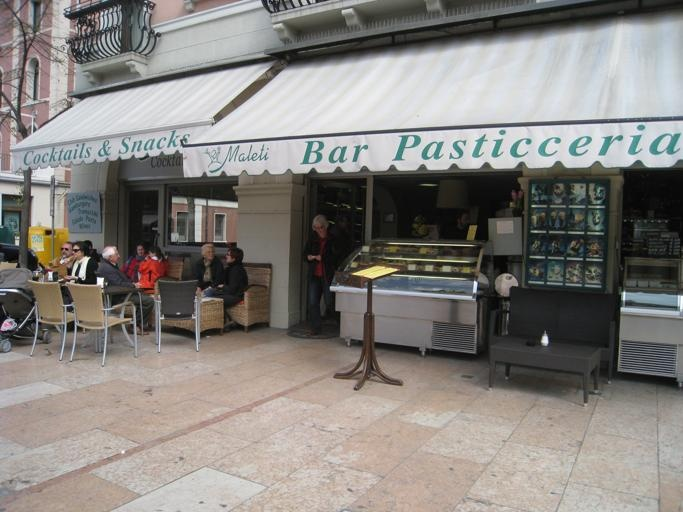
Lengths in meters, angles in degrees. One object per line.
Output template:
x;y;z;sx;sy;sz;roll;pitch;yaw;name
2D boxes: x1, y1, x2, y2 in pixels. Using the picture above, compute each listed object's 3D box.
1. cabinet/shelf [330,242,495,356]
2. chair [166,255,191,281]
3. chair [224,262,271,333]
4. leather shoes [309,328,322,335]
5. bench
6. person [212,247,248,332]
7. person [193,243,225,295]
1.182;0.618;9.107;3.030;2.212;1.614;0;0;28;cabinet/shelf
-3.549;0.263;12.160;0.577;0.740;0.562;0;1;-39;chair
-1.839;0.723;10.564;0.911;1.113;0.875;2;5;21;chair
-0.462;1.338;9.947;0.190;0.121;0.205;1;7;-2;leather shoes
2.736;1.022;7.325;1.532;1.326;1.419;0;-4;30;bench
-2.067;0.576;10.203;0.743;1.414;0.610;1;-1;-10;person
-2.476;0.229;10.267;0.637;0.829;0.689;11;16;41;person
